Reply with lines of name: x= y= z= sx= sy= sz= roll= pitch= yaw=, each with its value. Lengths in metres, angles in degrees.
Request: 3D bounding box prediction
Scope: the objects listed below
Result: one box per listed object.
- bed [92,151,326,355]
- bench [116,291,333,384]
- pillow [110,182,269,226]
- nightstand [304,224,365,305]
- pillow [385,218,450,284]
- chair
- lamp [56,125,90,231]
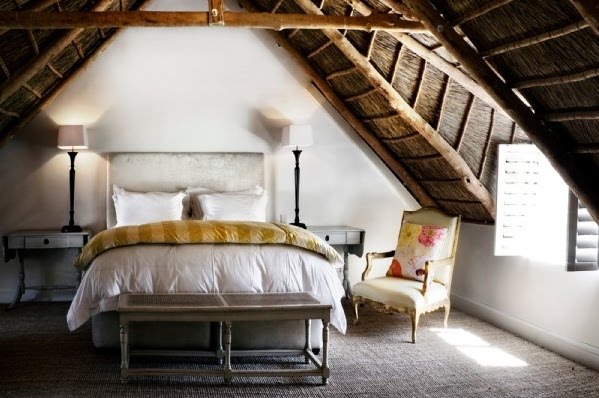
bed: x=-1.227 y=0.206 z=5.185 sx=2.194 sy=1.674 sz=2.229 roll=0 pitch=0 yaw=-9
bench: x=-0.630 y=1.161 z=3.925 sx=1.757 sy=0.717 sz=0.466 roll=1 pitch=7 yaw=-4
pillow: x=-1.367 y=0.056 z=5.824 sx=1.927 sy=0.449 sz=0.772 roll=-1 pitch=8 yaw=-18
nightstand: x=0.436 y=0.885 z=6.225 sx=1.067 sy=1.027 sz=0.833 roll=0 pitch=-1 yaw=-1
pillow: x=1.273 y=0.565 z=5.074 sx=0.167 sy=0.596 sz=0.612 roll=19 pitch=-7 yaw=-32
chair: x=0.987 y=0.749 z=5.583 sx=1.268 sy=1.832 sz=1.338 roll=5 pitch=-3 yaw=-41
lamp: x=-2.800 y=-0.284 z=5.697 sx=0.354 sy=1.276 sz=0.540 roll=-2 pitch=8 yaw=-22
